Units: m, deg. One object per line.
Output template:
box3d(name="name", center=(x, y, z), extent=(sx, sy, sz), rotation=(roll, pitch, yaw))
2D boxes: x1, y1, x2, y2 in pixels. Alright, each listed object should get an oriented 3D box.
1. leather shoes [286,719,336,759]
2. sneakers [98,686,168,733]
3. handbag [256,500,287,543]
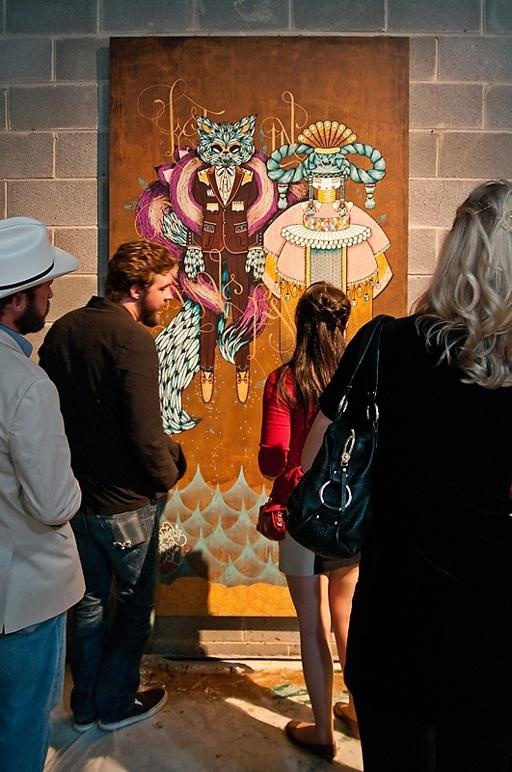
box3d(name="leather shoes", center=(0.180, 1.212, 2.804), extent=(0.075, 0.084, 0.216), rotation=(7, 9, -45))
box3d(name="sneakers", center=(-0.449, 1.169, 2.944), extent=(0.085, 0.090, 0.237), rotation=(4, 11, 38))
box3d(name="handbag", center=(0.056, 0.458, 2.665), extent=(0.076, 0.158, 0.158), rotation=(-1, 10, -9))
